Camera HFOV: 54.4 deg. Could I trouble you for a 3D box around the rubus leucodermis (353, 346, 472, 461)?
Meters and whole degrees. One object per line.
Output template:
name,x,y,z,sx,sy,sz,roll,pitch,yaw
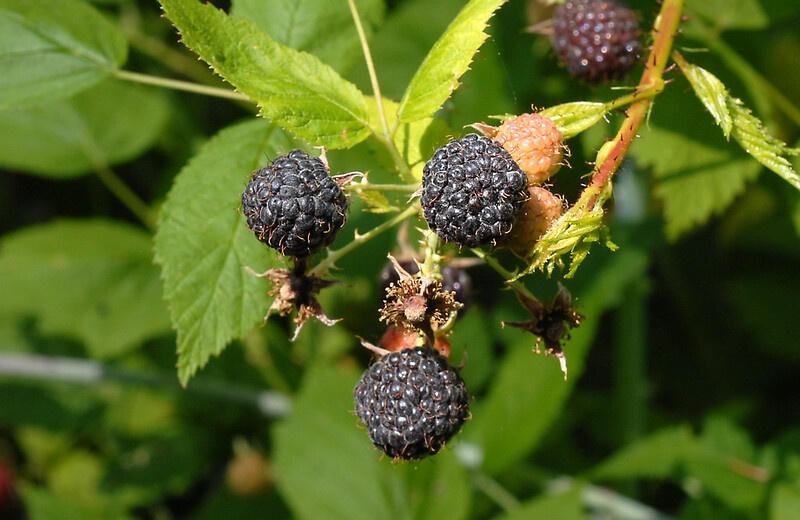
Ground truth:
rubus leucodermis,0.044,0.394,2.359,0.283,0.322,0.298,12,98,2

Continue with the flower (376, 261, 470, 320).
flower,0.080,0.146,2.482,0.281,0.227,0.148,-15,68,50

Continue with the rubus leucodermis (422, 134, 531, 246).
rubus leucodermis,0.197,-0.174,2.147,0.293,0.145,0.277,-36,65,-11

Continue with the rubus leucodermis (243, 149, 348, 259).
rubus leucodermis,-0.324,-0.152,2.233,0.283,0.318,0.240,24,110,14
